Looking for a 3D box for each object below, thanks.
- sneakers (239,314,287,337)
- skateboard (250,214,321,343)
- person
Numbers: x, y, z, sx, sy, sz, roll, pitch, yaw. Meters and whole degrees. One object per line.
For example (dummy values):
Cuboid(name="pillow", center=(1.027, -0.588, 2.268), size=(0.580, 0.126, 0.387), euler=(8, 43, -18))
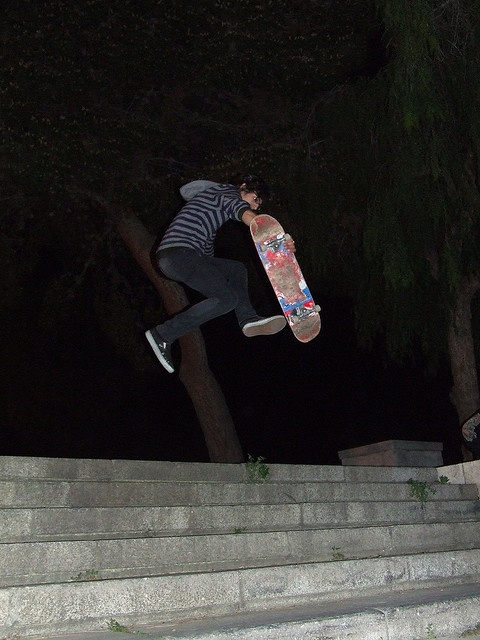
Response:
Cuboid(name="sneakers", center=(0.188, 0.096, 4.685), size=(0.367, 0.159, 0.265), euler=(0, 18, 14))
Cuboid(name="skateboard", center=(0.338, -0.497, 4.591), size=(0.273, 0.150, 1.128), euler=(-30, -25, 7))
Cuboid(name="person", center=(-0.083, -0.428, 4.745), size=(1.211, 1.790, 0.839), euler=(2, -16, 2))
